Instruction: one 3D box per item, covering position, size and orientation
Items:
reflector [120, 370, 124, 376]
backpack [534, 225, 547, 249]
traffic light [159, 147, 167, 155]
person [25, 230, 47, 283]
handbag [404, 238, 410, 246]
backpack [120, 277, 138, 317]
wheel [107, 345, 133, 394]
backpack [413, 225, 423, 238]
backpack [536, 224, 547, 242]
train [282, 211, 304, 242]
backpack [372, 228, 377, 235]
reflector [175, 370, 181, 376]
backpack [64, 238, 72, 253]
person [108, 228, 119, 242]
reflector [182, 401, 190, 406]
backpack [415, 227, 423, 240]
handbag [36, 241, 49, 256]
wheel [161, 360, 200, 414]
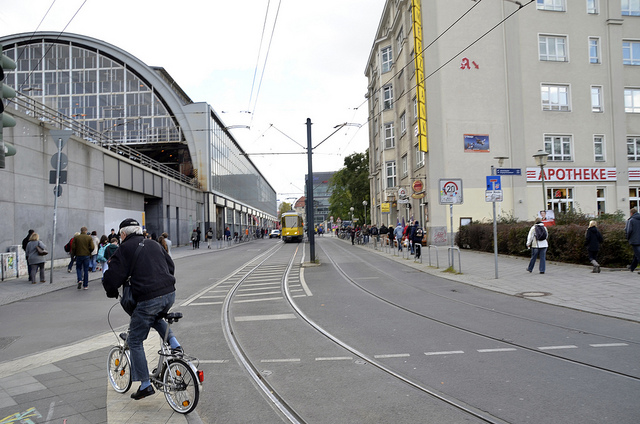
[{"bbox_3d":[-4.323,3.512,11.997,0.087,0.071,0.052,-2,-3,10],"label":"reflector"},{"bbox_3d":[8.792,0.985,21.718,0.420,0.917,0.691,-5,7,-31],"label":"backpack"},{"bbox_3d":[-18.247,-7.097,63.922,0.852,0.828,2.739,-4,9,-17],"label":"traffic light"},{"bbox_3d":[-11.609,1.884,22.429,0.676,2.074,1.007,-6,10,-30],"label":"person"},{"bbox_3d":[5.051,1.751,31.275,0.117,0.365,0.229,-3,4,-41],"label":"handbag"},{"bbox_3d":[-4.078,1.805,11.687,0.423,0.839,0.188,7,11,42],"label":"backpack"},{"bbox_3d":[-4.408,3.443,12.036,0.205,0.997,0.854,-9,11,-42],"label":"wheel"},{"bbox_3d":[5.078,1.020,28.140,0.467,0.790,0.376,1,-6,-26],"label":"backpack"},{"bbox_3d":[8.809,0.832,21.769,0.386,0.643,0.234,2,9,23],"label":"backpack"},{"bbox_3d":[-2.817,1.594,57.086,2.596,4.163,8.589,0,1,1],"label":"train"},{"bbox_3d":[4.235,1.513,42.051,0.246,0.384,0.389,-2,-3,4],"label":"backpack"},{"bbox_3d":[-2.966,3.356,11.506,0.066,0.122,0.028,-5,-21,-20],"label":"reflector"},{"bbox_3d":[-11.009,1.501,23.946,0.166,0.470,0.909,-5,9,-25],"label":"backpack"},{"bbox_3d":[-9.701,1.084,25.665,0.335,1.061,0.407,-3,-3,39],"label":"person"},{"bbox_3d":[-2.785,3.964,11.401,0.138,0.149,0.081,-1,0,6],"label":"reflector"},{"bbox_3d":[5.081,1.100,28.179,0.518,0.866,0.416,1,-4,-4],"label":"backpack"},{"bbox_3d":[-11.182,1.479,22.094,0.396,0.599,0.242,-1,8,3],"label":"handbag"},{"bbox_3d":[-2.886,3.640,11.444,0.893,1.080,0.174,4,10,32],"label":"wheel"}]
